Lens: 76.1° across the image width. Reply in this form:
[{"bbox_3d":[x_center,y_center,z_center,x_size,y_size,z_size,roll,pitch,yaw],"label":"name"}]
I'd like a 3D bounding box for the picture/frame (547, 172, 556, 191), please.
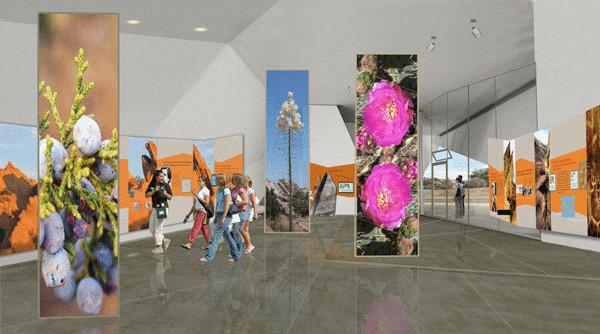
[{"bbox_3d":[8.021,0.472,12.247,0.033,0.547,0.252,-2,5,-23],"label":"picture/frame"}]

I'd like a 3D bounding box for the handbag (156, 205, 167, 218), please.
[{"bbox_3d":[-4.076,1.294,11.188,0.348,0.372,0.133,2,5,-5],"label":"handbag"}]

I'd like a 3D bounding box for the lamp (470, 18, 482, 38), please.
[{"bbox_3d":[6.031,-4.753,13.246,0.348,0.639,0.977,2,5,26],"label":"lamp"}]

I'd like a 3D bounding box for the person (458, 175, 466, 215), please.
[{"bbox_3d":[6.827,1.167,16.190,0.159,1.698,0.512,0,4,-6],"label":"person"}]

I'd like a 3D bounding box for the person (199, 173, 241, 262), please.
[{"bbox_3d":[-2.145,1.377,10.545,0.803,2.417,0.614,3,5,31],"label":"person"}]

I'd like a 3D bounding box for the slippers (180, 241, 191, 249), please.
[{"bbox_3d":[-3.486,2.376,11.661,0.297,0.197,0.152,30,-39,-13],"label":"slippers"}]

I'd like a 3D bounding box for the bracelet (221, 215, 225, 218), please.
[{"bbox_3d":[-2.056,1.308,10.182,0.065,0.061,0.065,-1,-3,1],"label":"bracelet"}]

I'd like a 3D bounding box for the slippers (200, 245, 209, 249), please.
[{"bbox_3d":[-2.958,2.466,11.845,0.129,0.082,0.247,-3,-9,33],"label":"slippers"}]

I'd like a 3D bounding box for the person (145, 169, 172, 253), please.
[{"bbox_3d":[-4.206,1.305,11.429,0.691,2.430,0.492,2,4,22],"label":"person"}]
